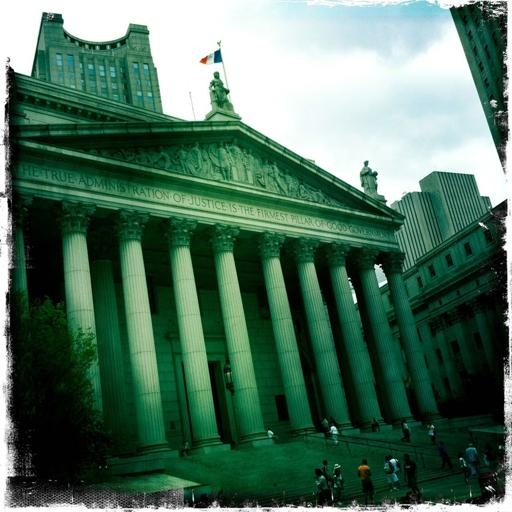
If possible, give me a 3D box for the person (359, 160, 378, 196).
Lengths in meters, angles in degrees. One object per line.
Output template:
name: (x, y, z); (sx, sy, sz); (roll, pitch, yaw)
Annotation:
person: (9.324, -6.285, 45.704); (1.290, 3.432, 1.077); (-12, -23, 6)
